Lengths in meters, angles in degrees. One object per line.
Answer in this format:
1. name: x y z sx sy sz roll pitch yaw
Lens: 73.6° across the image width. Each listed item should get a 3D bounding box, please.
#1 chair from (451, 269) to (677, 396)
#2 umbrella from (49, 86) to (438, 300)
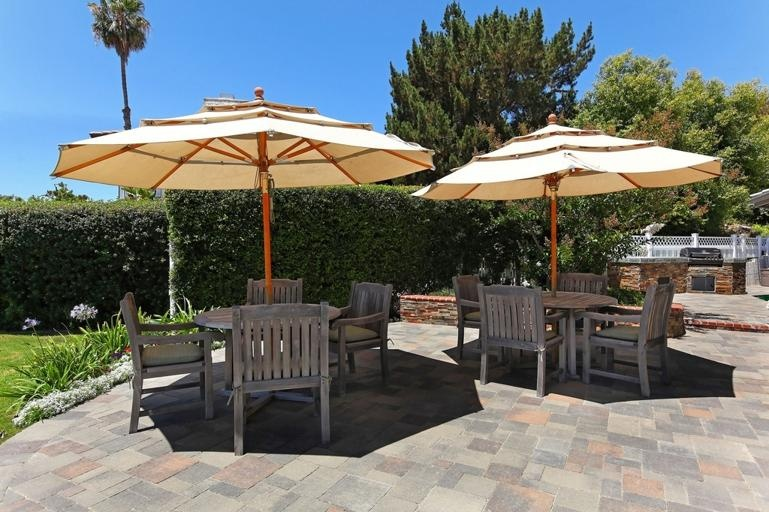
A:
1. chair: 2.977 1.250 8.726 3.139 1.783 1.765 1 1 38
2. umbrella: -2.129 -0.932 8.040 5.033 3.480 2.967 -3 0 3
